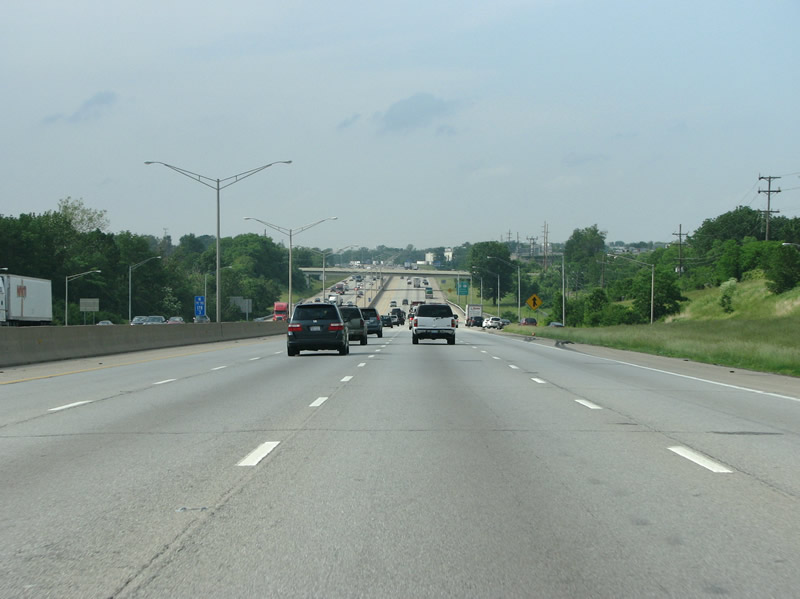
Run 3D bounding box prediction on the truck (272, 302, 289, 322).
[{"bbox_3d":[-16.598,1.350,128.889,2.767,3.450,5.869,0,-2,0],"label":"truck"}]
